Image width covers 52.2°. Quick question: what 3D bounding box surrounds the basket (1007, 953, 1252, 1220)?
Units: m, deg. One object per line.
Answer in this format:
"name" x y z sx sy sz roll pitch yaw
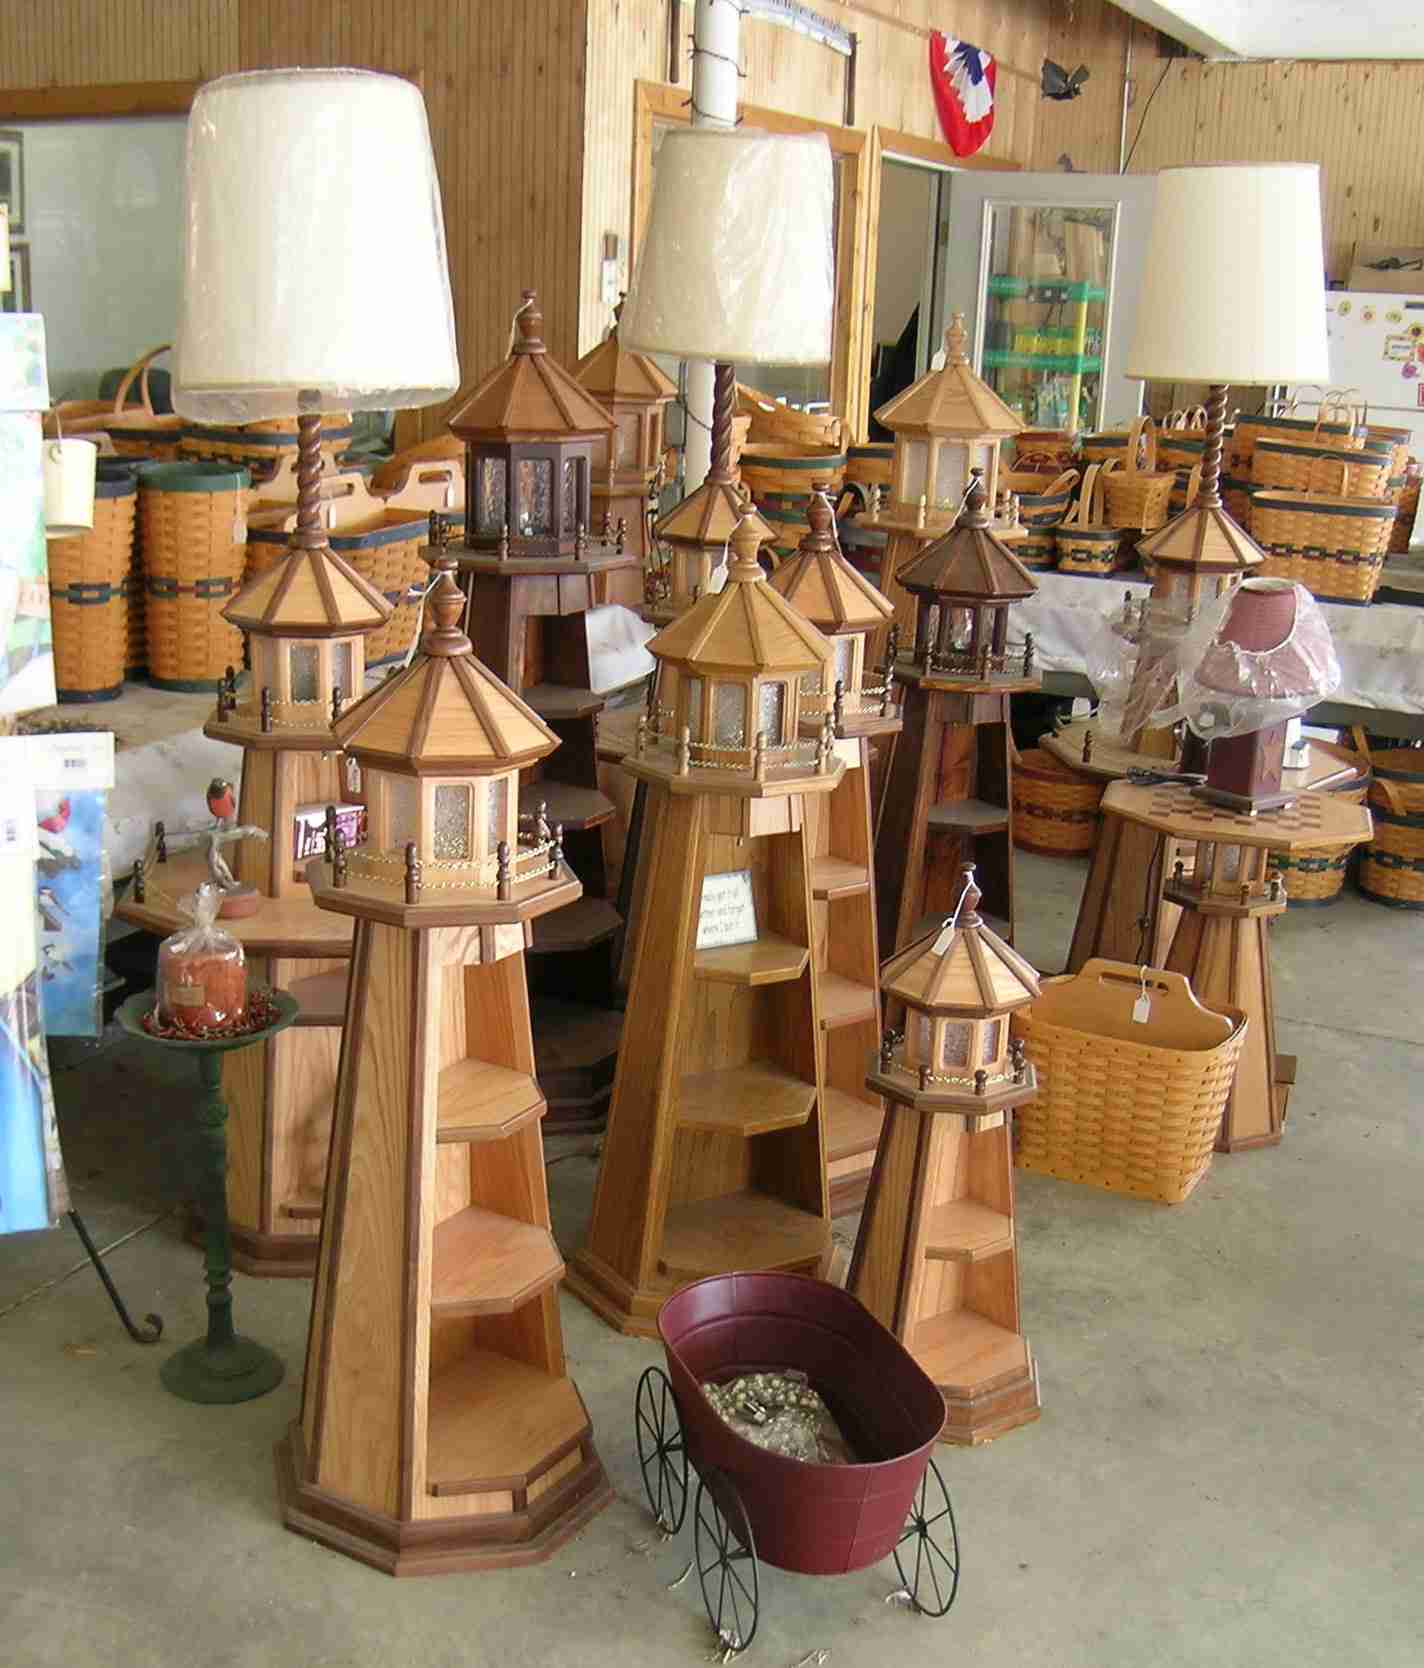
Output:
"basket" 0.905 0.552 3.280 0.489 0.404 0.292 9 22 22

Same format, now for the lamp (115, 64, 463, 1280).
"lamp" -0.637 -0.032 2.209 0.428 1.879 1.141 -2 15 -21

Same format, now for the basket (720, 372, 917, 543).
"basket" 0.445 -1.281 5.364 0.814 0.638 1.022 -1 12 -6

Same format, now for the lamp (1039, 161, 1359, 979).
"lamp" 1.181 -0.810 3.510 0.456 1.446 0.407 2 32 7

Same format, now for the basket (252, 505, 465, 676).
"basket" -1.181 -0.724 4.305 0.594 0.464 0.803 -1 13 0
